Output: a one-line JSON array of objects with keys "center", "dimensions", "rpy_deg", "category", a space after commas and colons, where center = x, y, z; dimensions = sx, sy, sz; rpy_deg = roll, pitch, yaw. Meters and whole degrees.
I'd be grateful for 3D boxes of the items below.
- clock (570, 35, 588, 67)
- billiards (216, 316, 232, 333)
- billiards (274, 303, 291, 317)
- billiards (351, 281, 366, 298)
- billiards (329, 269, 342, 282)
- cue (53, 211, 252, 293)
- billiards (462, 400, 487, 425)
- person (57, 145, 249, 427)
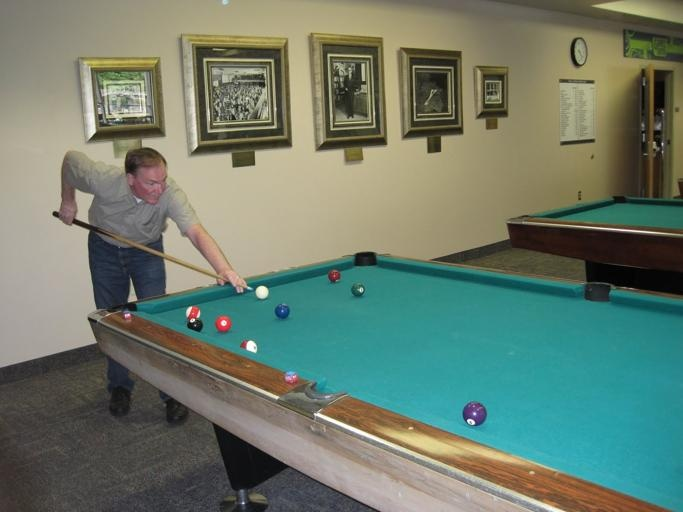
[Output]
[{"center": [3.164, -2.722, 6.956], "dimensions": [0.381, 0.379, 0.060], "rpy_deg": [-14, 18, -39], "category": "clock"}, {"center": [-0.465, 0.272, 2.056], "dimensions": [0.046, 0.049, 0.025], "rpy_deg": [-14, 1, -29], "category": "billiards"}, {"center": [-0.245, 0.218, 2.184], "dimensions": [0.049, 0.053, 0.052], "rpy_deg": [-5, 19, -9], "category": "billiards"}, {"center": [0.074, 0.153, 2.418], "dimensions": [0.055, 0.050, 0.061], "rpy_deg": [8, 32, 42], "category": "billiards"}, {"center": [-0.031, 0.102, 2.664], "dimensions": [0.055, 0.043, 0.057], "rpy_deg": [-7, -13, -7], "category": "billiards"}, {"center": [-1.110, -0.008, 2.977], "dimensions": [1.256, 0.087, 0.039], "rpy_deg": [17, -13, 15], "category": "cue"}, {"center": [0.337, 0.402, 1.319], "dimensions": [0.055, 0.058, 0.056], "rpy_deg": [-8, 26, 31], "category": "billiards"}, {"center": [-1.147, 0.145, 3.145], "dimensions": [0.863, 1.919, 0.913], "rpy_deg": [-1, 3, -16], "category": "person"}]
